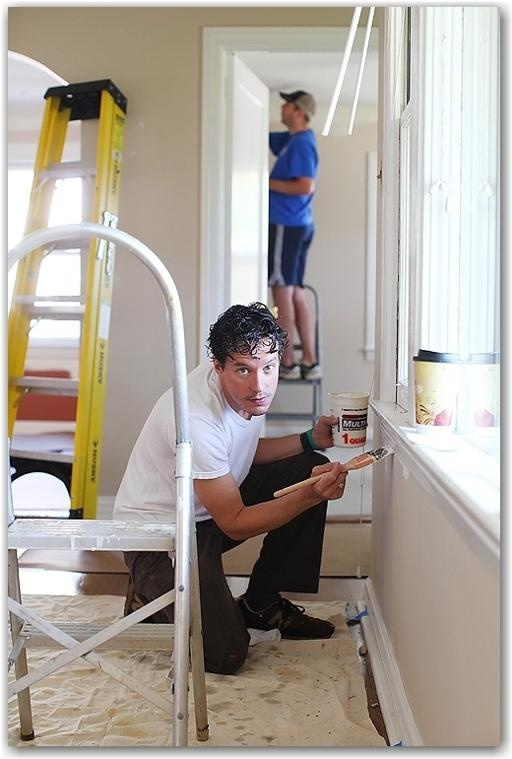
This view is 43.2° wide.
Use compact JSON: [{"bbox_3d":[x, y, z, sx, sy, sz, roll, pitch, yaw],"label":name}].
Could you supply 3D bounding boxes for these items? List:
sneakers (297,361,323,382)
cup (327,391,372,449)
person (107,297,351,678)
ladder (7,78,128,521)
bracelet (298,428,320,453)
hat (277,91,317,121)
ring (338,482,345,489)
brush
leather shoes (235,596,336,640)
[{"bbox_3d":[0.357,-0.061,4.428,0.116,0.148,0.322,1,5,1],"label":"sneakers"},{"bbox_3d":[0.224,0.094,1.567,0.123,0.136,0.115,-2,-3,0],"label":"cup"},{"bbox_3d":[-0.050,0.261,1.610,0.596,0.896,0.654,-1,4,-13],"label":"person"},{"bbox_3d":[-0.761,-0.315,2.577,0.427,1.667,0.416,1,4,12],"label":"ladder"},{"bbox_3d":[0.150,0.177,1.847,0.033,0.066,0.056,-8,27,-6],"label":"bracelet"},{"bbox_3d":[0.239,-1.651,3.836,0.201,0.196,0.181,0,3,2],"label":"hat"},{"bbox_3d":[0.182,0.227,1.399,0.011,0.019,0.018,4,13,-4],"label":"ring"},{"bbox_3d":[0.160,0.203,1.405,0.250,0.121,0.230,0,3,-2],"label":"brush"},{"bbox_3d":[0.074,0.633,1.773,0.255,0.106,0.105,5,-7,0],"label":"leather shoes"}]
